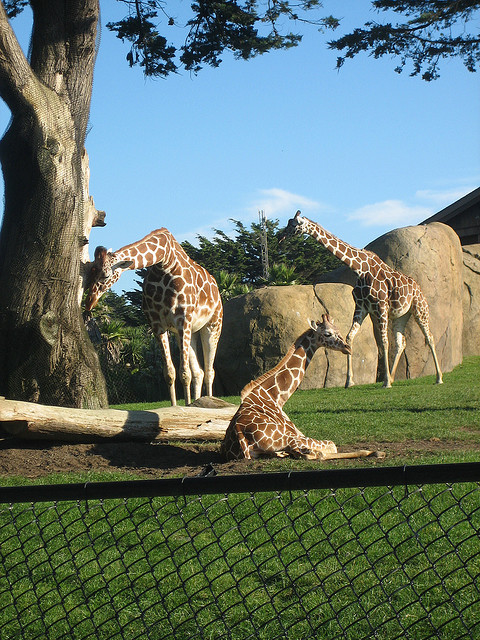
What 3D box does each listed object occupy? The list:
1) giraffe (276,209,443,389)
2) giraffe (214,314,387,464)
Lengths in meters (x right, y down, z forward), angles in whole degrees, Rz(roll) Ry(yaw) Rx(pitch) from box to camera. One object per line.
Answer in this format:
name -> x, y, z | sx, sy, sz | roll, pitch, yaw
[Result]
giraffe -> 1.929, -0.178, 20.760 | 3.325, 2.575, 0.772 | 3, -5, -40
giraffe -> 0.588, 0.720, 12.989 | 1.333, 1.869, 1.079 | 2, -14, 0
